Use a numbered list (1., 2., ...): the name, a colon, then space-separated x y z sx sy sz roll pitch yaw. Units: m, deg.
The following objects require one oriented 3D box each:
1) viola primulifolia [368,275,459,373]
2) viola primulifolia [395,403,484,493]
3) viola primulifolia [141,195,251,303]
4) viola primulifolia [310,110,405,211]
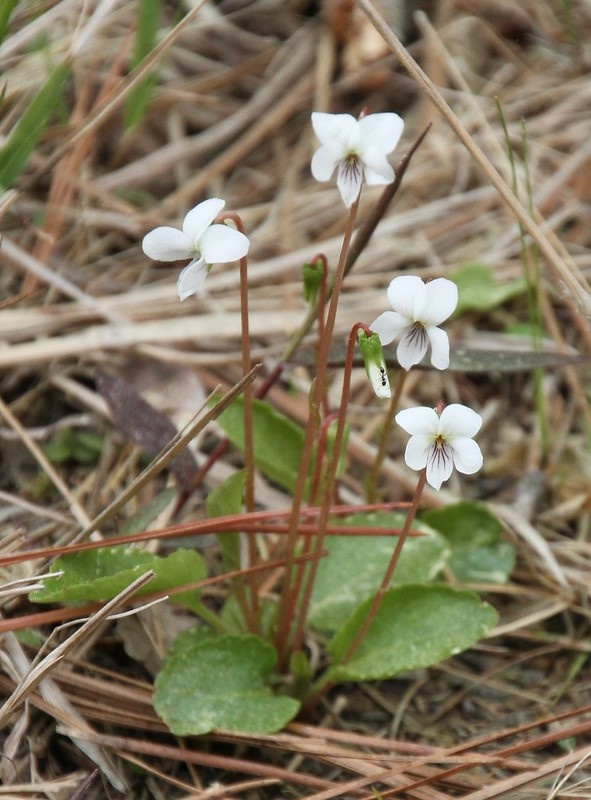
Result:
1. viola primulifolia: 0.187 -0.105 1.313 0.131 0.216 0.120 12 57 8
2. viola primulifolia: 0.216 0.059 1.264 0.143 0.035 0.131 14 38 1
3. viola primulifolia: -0.125 -0.231 1.251 0.184 0.058 0.155 5 84 41
4. viola primulifolia: 0.112 -0.355 1.277 0.155 0.048 0.153 6 99 18
